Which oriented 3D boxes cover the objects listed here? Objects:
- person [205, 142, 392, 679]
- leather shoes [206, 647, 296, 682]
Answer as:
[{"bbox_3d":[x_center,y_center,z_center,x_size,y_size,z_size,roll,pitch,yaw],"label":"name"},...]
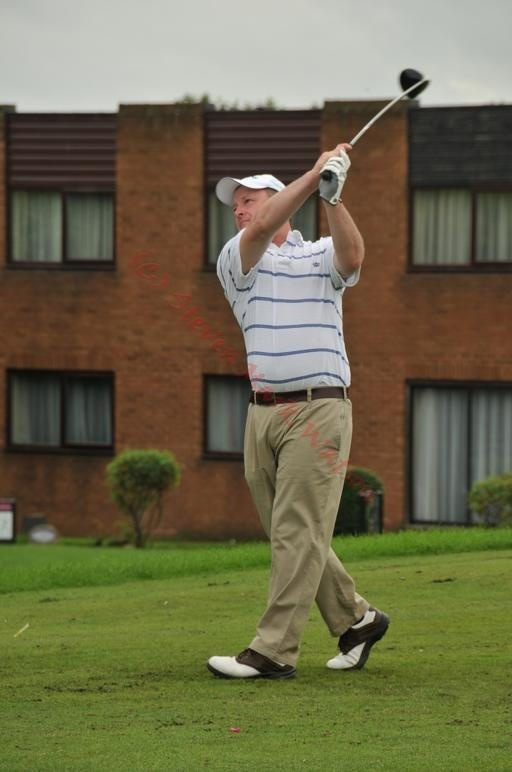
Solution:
[{"bbox_3d":[0.142,0.109,8.407,0.664,2.295,0.523,-1,-4,8],"label":"person"},{"bbox_3d":[-0.026,1.213,8.230,0.344,0.212,0.160,10,-7,0],"label":"leather shoes"}]
